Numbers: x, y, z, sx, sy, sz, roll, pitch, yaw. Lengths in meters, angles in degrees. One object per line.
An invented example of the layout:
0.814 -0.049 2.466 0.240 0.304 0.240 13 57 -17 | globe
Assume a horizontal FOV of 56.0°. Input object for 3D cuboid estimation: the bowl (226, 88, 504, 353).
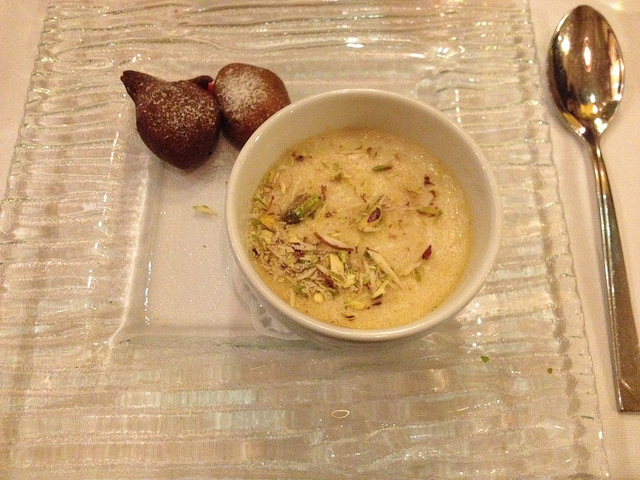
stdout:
0.089 -0.034 1.413 0.610 0.293 0.591 1 75 -2 | bowl
